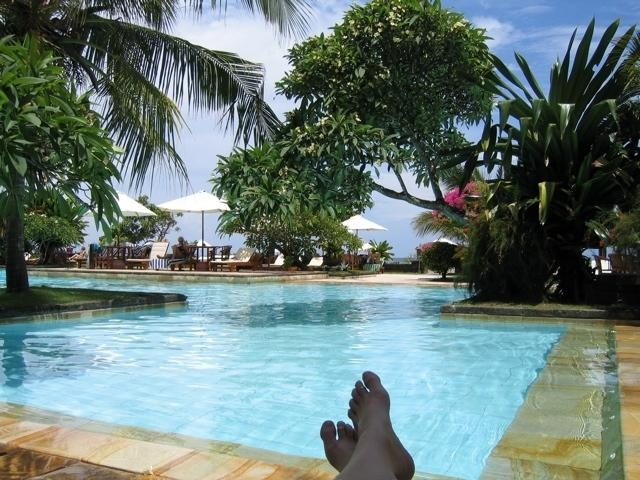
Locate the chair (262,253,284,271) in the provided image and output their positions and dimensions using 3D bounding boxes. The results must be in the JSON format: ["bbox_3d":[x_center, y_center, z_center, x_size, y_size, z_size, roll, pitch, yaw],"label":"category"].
[{"bbox_3d":[-2.787,1.285,25.470,1.130,1.295,0.954,1,-3,-1],"label":"chair"}]

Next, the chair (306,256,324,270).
[{"bbox_3d":[-0.275,1.232,24.169,0.809,0.735,0.458,-1,0,-8],"label":"chair"}]

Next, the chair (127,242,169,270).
[{"bbox_3d":[-8.962,0.910,23.099,1.526,1.431,2.344,0,-3,15],"label":"chair"}]

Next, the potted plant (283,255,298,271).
[{"bbox_3d":[-1.563,1.250,23.394,0.751,0.791,0.756,-2,3,-30],"label":"potted plant"}]

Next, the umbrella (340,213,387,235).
[{"bbox_3d":[2.308,-0.984,24.314,2.228,1.068,2.296,4,9,25],"label":"umbrella"}]

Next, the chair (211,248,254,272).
[{"bbox_3d":[-4.176,1.057,21.644,1.349,1.134,1.934,-3,-5,43],"label":"chair"}]

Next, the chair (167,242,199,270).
[{"bbox_3d":[-7.277,0.829,22.600,1.388,1.799,1.624,1,-8,-9],"label":"chair"}]
